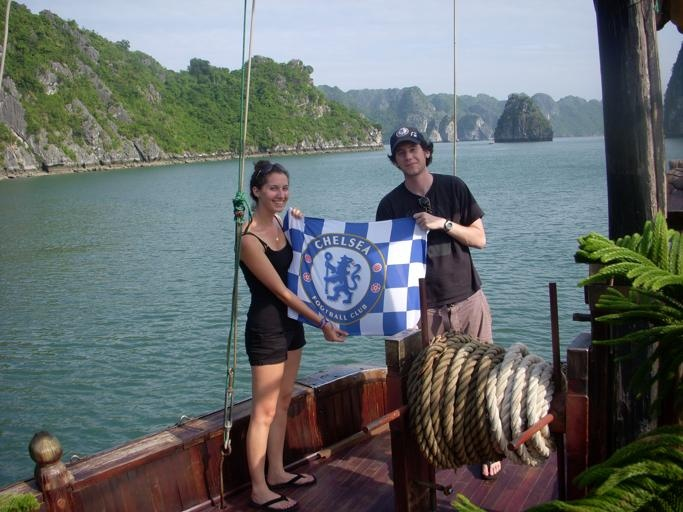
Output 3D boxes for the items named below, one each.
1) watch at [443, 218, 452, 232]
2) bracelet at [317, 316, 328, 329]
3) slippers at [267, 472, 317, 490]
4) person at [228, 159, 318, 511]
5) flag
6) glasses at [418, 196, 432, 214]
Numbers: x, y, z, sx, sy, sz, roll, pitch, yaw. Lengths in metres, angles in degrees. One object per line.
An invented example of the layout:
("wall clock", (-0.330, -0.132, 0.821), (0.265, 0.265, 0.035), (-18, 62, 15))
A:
("watch", (0.659, -0.188, 3.708), (0.039, 0.069, 0.066), (3, -1, 5))
("bracelet", (-0.113, 0.407, 3.692), (0.044, 0.064, 0.053), (1, 6, -23))
("slippers", (-0.309, 1.340, 3.636), (0.244, 0.061, 0.100), (-6, 9, -20))
("person", (-0.415, 0.429, 3.533), (0.408, 1.941, 0.640), (-1, 11, 10))
("flag", (0.079, 0.117, 3.732), (0.798, 0.723, 0.090), (2, -4, 6))
("glasses", (0.535, -0.328, 3.824), (0.064, 0.106, 0.040), (-20, 2, 15))
